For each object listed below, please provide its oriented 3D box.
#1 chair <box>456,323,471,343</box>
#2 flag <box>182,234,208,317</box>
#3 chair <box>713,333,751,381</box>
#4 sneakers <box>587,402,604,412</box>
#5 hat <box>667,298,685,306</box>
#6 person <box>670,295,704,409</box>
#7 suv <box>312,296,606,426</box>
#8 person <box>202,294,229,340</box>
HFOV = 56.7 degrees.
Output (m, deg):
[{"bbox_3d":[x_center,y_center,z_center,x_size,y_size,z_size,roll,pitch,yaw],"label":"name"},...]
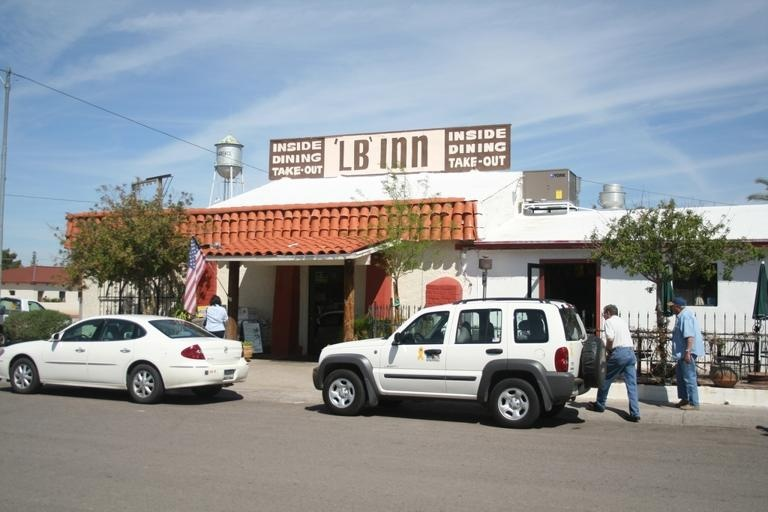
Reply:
[{"bbox_3d":[1.607,1.556,14.351,0.255,0.422,0.169,-8,-16,33],"label":"chair"},{"bbox_3d":[-5.791,0.614,21.835,0.611,2.429,0.806,0,3,-16],"label":"flag"},{"bbox_3d":[8.623,2.600,17.755,0.786,1.019,0.956,-1,0,11],"label":"chair"},{"bbox_3d":[4.554,3.245,15.342,0.141,0.139,0.324,-1,5,-27],"label":"sneakers"},{"bbox_3d":[6.243,0.982,15.334,0.297,0.155,0.386,7,-6,-34],"label":"hat"},{"bbox_3d":[6.414,2.086,15.098,0.602,2.368,0.783,1,3,22],"label":"person"},{"bbox_3d":[1.620,2.044,15.229,5.146,2.175,2.568,1,-3,20],"label":"suv"},{"bbox_3d":[-4.813,1.887,20.163,0.610,1.710,0.513,6,23,-9],"label":"person"}]
